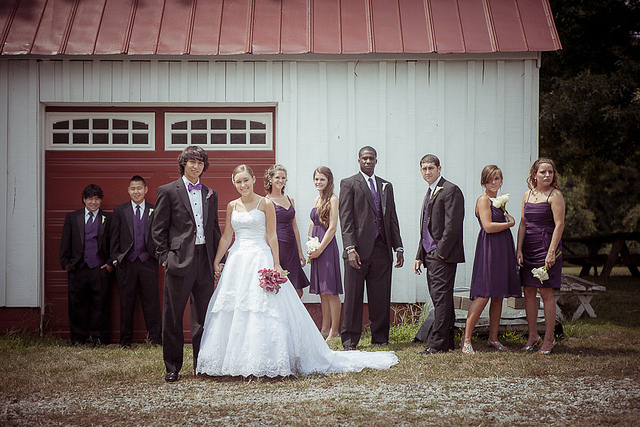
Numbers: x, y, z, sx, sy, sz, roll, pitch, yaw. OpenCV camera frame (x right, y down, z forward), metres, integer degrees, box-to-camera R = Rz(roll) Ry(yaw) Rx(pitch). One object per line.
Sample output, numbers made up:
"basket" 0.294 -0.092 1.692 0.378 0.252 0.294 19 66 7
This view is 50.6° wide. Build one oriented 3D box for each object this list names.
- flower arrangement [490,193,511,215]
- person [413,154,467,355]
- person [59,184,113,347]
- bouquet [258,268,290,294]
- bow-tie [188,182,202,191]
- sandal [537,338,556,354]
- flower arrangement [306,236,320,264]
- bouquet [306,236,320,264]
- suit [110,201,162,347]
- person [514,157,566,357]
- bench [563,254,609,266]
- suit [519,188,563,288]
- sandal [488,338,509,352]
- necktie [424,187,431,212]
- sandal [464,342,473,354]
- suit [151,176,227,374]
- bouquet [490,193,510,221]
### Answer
"flower arrangement" 2.798 -0.137 10.454 0.320 0.294 0.201 -4 7 -31
"person" 1.822 0.621 10.430 0.741 3.002 0.596 2 6 26
"person" -4.013 1.092 11.655 0.858 2.325 0.494 -2 5 -16
"bouquet" -0.630 0.920 9.657 0.378 0.282 0.291 -4 17 2
"bow-tie" -1.810 -0.405 9.779 0.235 0.148 0.070 -1 0 -14
"sandal" 3.487 2.035 10.334 0.343 0.172 0.186 -3 6 -17
"flower arrangement" -0.113 0.581 11.182 0.204 0.331 0.205 -5 31 -25
"bouquet" -0.126 0.539 11.221 0.196 0.294 0.177 -7 34 -30
"suit" -3.143 1.029 11.671 0.827 2.667 0.655 1 5 -11
"person" 3.336 0.650 10.345 0.705 2.952 0.626 1 6 21
"bench" 7.039 1.278 17.994 1.085 0.328 0.716 2 6 21
"suit" 3.392 0.372 10.410 0.506 1.458 0.520 0 0 0
"sandal" 2.786 2.057 10.489 0.209 0.115 0.408 -3 6 -17
"necktie" 1.689 -0.233 10.628 0.055 0.429 0.049 7 16 -12
"sandal" 2.255 2.056 10.317 0.114 0.124 0.209 1 6 14
"suit" -2.079 0.713 10.357 1.625 3.385 0.669 1 -3 -13
"bouquet" 2.782 -0.091 10.520 0.265 0.320 0.241 -25 10 33
